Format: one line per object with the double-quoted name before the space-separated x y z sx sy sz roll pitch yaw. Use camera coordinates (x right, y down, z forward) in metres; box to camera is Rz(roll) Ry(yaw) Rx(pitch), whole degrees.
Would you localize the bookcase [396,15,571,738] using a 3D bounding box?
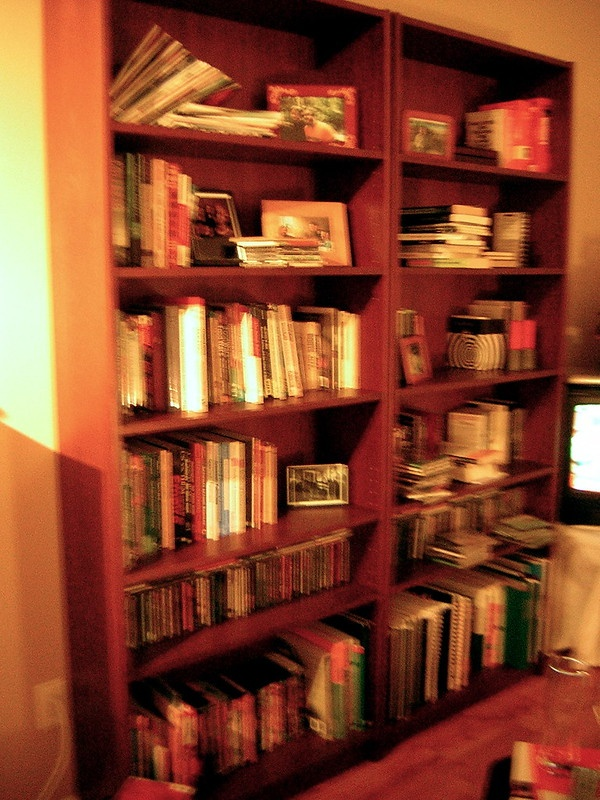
"bookcase" 0.493 -0.248 2.083 0.609 1.360 0.240 -8 9 -35
